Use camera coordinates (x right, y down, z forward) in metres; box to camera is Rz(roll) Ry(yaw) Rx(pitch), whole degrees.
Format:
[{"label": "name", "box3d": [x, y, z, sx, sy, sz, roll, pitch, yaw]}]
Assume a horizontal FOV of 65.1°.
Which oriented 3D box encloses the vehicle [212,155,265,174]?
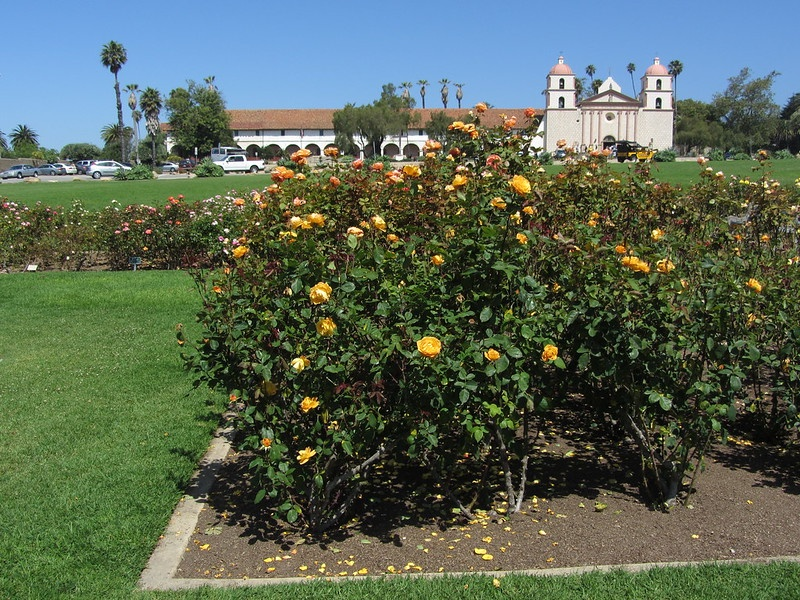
[{"label": "vehicle", "box3d": [-13.075, -11.220, 51.901, 3.615, 1.421, 1.696, 0, 9, -16]}]
